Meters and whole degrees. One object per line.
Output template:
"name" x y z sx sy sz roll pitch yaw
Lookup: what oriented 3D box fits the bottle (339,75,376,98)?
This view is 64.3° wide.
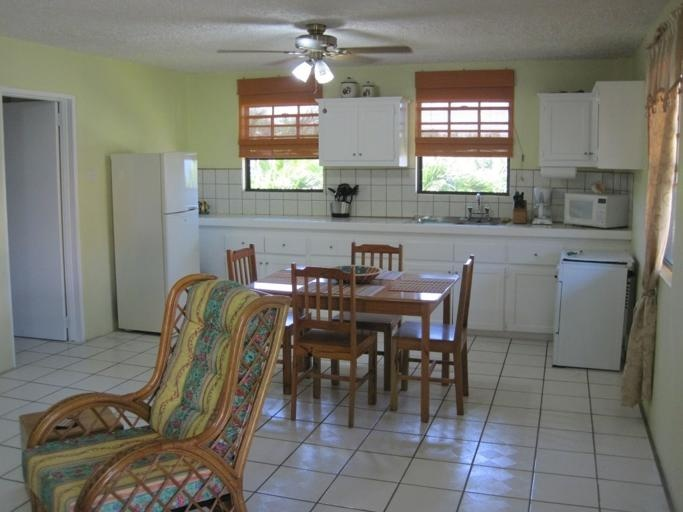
"bottle" 0.192 -1.970 6.337 0.393 0.206 0.218 2 7 9

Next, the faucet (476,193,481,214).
"faucet" 1.581 -0.608 6.259 0.059 0.221 0.155 2 12 13

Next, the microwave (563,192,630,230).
"microwave" 2.630 -0.468 5.590 0.627 0.344 0.410 5 13 24

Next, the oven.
"oven" 2.269 0.460 5.409 0.915 1.331 0.926 3 5 16

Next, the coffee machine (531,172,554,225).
"coffee machine" 2.209 -0.568 5.957 0.210 0.406 0.419 4 12 19

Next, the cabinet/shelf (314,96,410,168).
"cabinet/shelf" 0.249 -1.425 6.226 0.830 0.629 0.319 1 3 16
